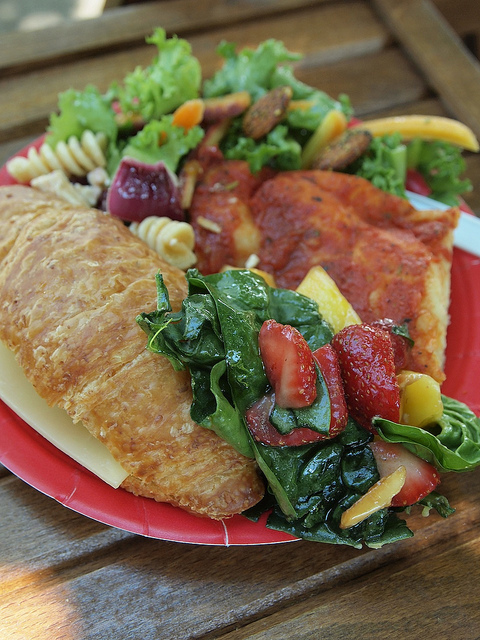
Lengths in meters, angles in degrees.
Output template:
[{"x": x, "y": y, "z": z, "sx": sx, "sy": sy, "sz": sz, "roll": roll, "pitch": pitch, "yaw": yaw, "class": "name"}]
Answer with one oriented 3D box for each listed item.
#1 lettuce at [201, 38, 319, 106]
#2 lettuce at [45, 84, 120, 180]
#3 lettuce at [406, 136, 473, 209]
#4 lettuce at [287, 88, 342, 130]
[{"x": 0.040, "y": -0.616, "z": 1.634, "sx": 0.284, "sy": 0.131, "sz": 0.117, "roll": -3, "pitch": 45, "yaw": 6, "class": "lettuce"}, {"x": -0.375, "y": -0.440, "z": 1.560, "sx": 0.239, "sy": 0.196, "sz": 0.062, "roll": -14, "pitch": 17, "yaw": -22, "class": "lettuce"}, {"x": 0.490, "y": -0.388, "z": 1.751, "sx": 0.227, "sy": 0.175, "sz": 0.102, "roll": -7, "pitch": 12, "yaw": -27, "class": "lettuce"}, {"x": 0.189, "y": -0.527, "z": 1.634, "sx": 0.118, "sy": 0.047, "sz": 0.098, "roll": -34, "pitch": 79, "yaw": 1, "class": "lettuce"}]
